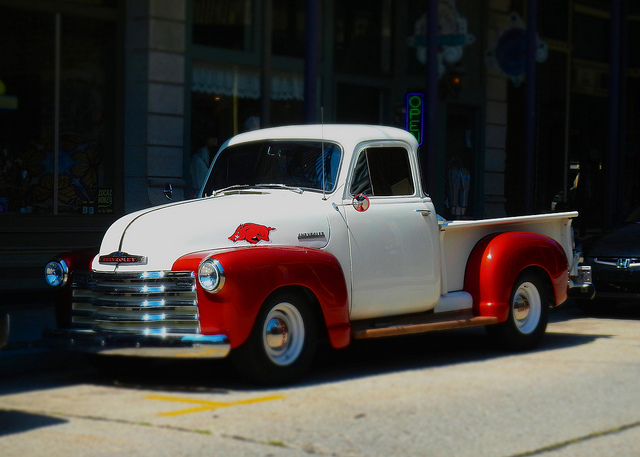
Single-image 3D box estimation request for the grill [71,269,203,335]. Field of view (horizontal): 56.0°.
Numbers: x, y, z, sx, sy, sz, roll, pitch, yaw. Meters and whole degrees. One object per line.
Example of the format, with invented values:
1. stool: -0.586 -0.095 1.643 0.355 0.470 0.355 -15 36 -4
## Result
1. grill: -1.794 0.703 5.793 1.537 0.625 0.322 0 -1 33
